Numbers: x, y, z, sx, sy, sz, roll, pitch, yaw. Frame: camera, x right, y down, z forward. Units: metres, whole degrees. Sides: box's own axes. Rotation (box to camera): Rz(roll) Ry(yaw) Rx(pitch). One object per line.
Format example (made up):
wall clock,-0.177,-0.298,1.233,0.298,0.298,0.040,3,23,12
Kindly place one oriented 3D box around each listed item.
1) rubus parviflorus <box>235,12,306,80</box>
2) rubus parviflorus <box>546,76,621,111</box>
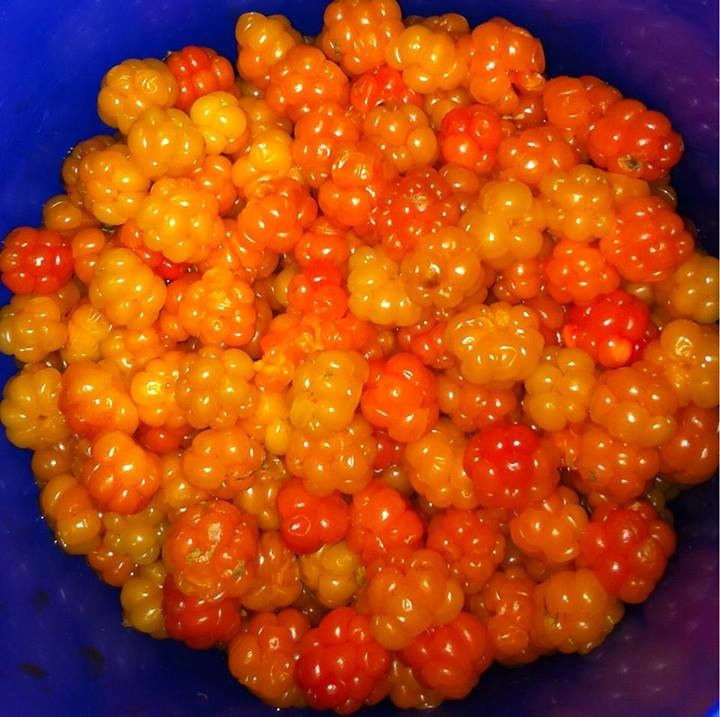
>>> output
rubus parviflorus,-0.221,-0.714,1.869,0.132,0.153,0.085,-26,-43,3
rubus parviflorus,0.472,-0.570,1.775,0.117,0.057,0.107,8,16,-7
